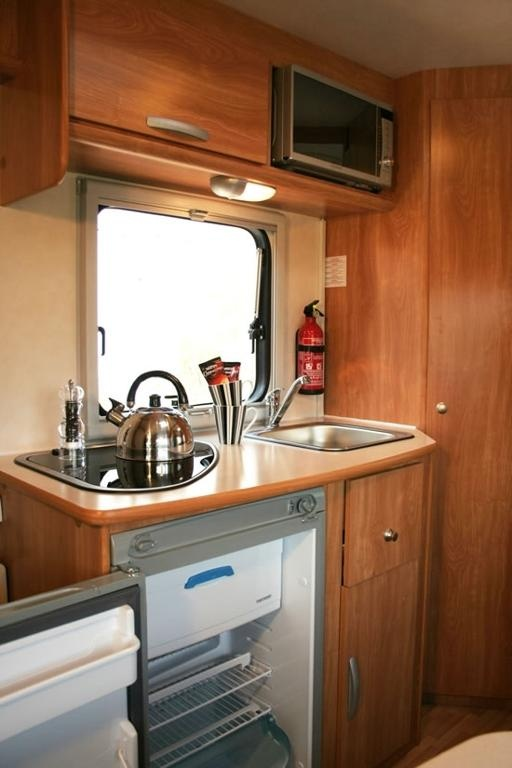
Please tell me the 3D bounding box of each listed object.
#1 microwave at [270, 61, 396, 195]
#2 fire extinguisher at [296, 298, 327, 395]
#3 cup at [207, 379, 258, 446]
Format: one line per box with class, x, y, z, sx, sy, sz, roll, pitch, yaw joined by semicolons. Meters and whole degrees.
microwave;0.221;-0.768;1.832;0.135;0.253;0.463;3;7;37
fire extinguisher;0.214;-0.147;2.323;0.110;0.352;0.120;2;4;30
cup;-0.084;0.075;1.820;0.107;0.210;0.079;-3;4;-5
